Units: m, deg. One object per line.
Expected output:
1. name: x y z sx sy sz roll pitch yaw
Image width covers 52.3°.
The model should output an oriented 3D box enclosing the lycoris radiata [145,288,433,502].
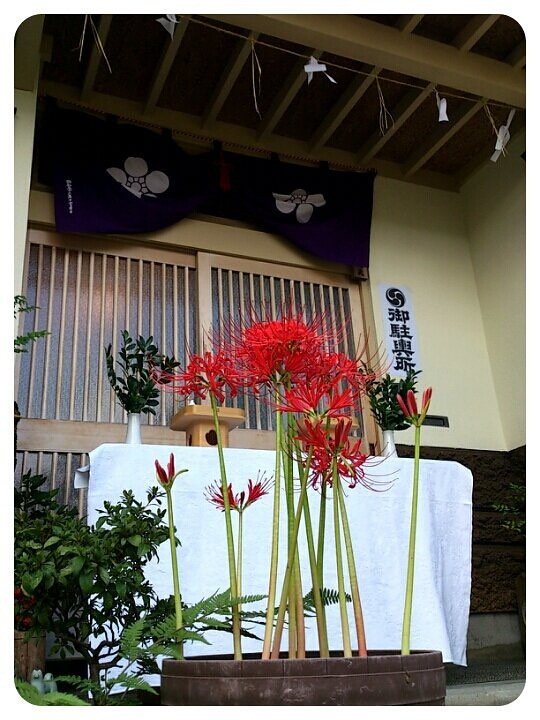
1. lycoris radiata: 0.015 0.056 0.712 0.288 0.232 0.396 -1 -11 -11

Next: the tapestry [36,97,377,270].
1. tapestry: -0.265 -1.000 3.376 2.103 0.832 0.138 4 -26 -25
